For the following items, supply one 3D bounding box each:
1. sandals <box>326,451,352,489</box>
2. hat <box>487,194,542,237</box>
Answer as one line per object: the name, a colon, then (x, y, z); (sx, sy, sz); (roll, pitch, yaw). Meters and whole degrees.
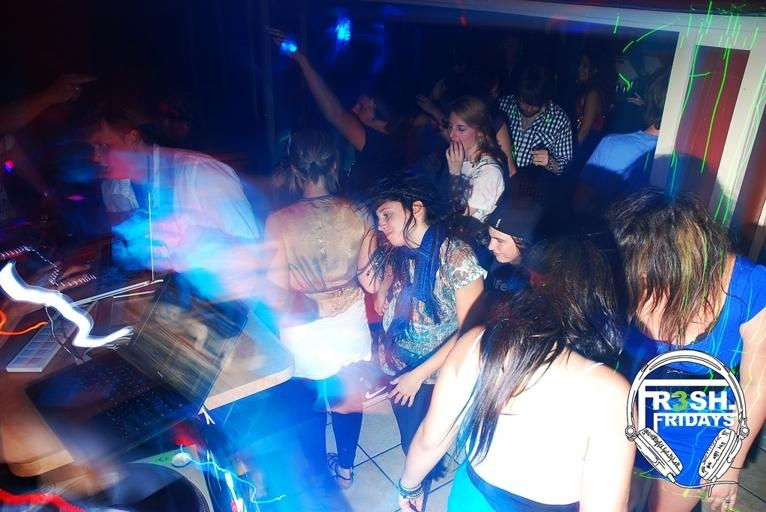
sandals: (-0.318, 1.542, 3.804); (0.128, 0.272, 0.105); (-7, -5, -32)
hat: (0.822, -0.254, 3.295); (0.261, 0.185, 0.263); (2, 27, -41)
